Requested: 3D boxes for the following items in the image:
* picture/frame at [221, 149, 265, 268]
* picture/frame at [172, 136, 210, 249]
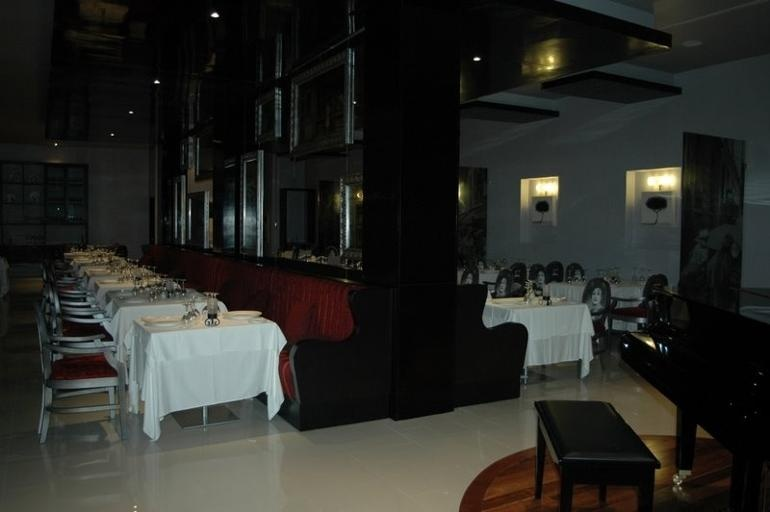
[{"bbox_3d":[-2.405,-0.832,9.564,0.107,2.644,1.814,4,-7,-32],"label":"picture/frame"},{"bbox_3d":[-4.336,-1.417,12.598,0.200,2.727,2.738,2,-3,-26],"label":"picture/frame"}]
